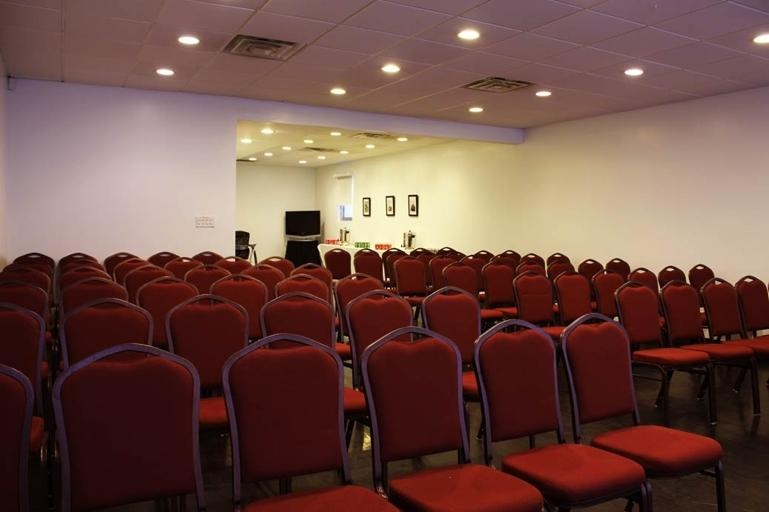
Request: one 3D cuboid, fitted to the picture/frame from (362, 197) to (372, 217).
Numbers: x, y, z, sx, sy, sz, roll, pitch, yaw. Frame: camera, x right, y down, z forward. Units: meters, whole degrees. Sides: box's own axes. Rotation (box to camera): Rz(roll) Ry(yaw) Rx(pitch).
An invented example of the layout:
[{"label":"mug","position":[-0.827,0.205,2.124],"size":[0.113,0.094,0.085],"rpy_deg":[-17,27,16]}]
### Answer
[{"label":"picture/frame","position":[-0.513,-1.475,14.906],"size":[0.080,0.787,0.607],"rpy_deg":[-1,0,-36]}]
